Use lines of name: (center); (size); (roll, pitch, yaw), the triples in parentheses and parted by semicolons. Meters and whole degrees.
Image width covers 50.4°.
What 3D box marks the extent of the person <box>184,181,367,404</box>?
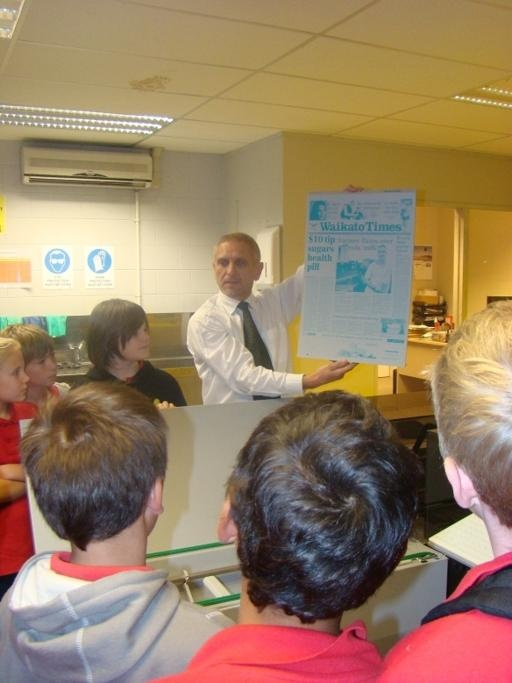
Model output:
person: (-0.032, -0.100, 2.368); (0.527, 0.774, 0.685); (2, 5, -3)

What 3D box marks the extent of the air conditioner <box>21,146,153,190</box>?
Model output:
air conditioner: (-1.165, -1.256, 3.971); (0.968, 0.312, 0.191); (-1, 0, -12)
